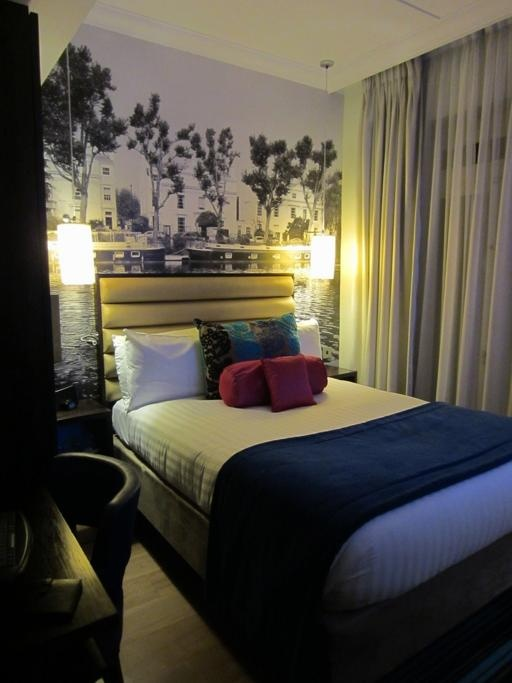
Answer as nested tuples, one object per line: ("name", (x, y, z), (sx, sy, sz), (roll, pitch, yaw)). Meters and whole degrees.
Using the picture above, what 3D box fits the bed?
("bed", (0.109, 0.360, 2.138), (1.207, 1.085, 1.634), (-5, 10, -33))
